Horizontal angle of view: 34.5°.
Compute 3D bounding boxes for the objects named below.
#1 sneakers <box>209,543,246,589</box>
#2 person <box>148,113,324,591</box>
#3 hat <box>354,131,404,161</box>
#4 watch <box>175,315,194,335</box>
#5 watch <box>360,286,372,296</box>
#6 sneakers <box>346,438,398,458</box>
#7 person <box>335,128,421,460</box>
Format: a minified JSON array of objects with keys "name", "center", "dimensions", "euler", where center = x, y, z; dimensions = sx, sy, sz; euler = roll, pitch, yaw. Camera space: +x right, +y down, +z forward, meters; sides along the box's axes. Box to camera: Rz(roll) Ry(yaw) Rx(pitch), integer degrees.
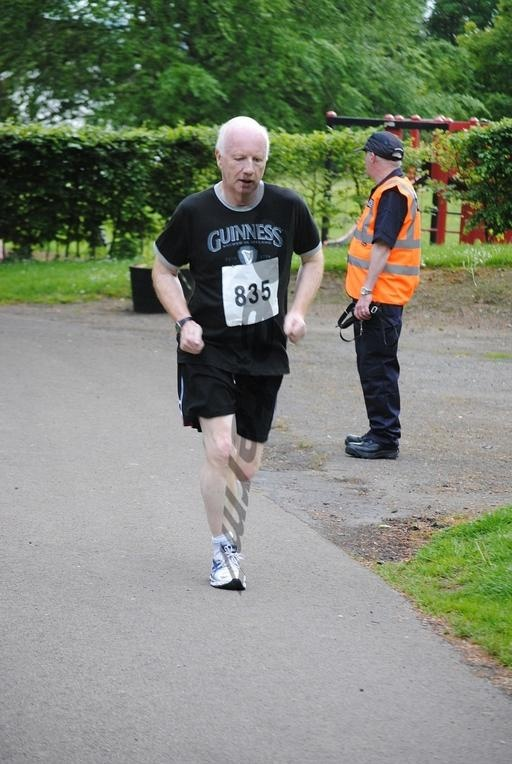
[{"name":"sneakers","center":[-0.122,0.778,3.431],"dimensions":[0.110,0.104,0.243],"euler":[2,-4,-8]},{"name":"person","center":[-0.063,-0.104,3.465],"dimensions":[0.696,1.928,0.460],"euler":[-2,7,-18]},{"name":"hat","center":[0.866,-1.601,5.609],"dimensions":[0.239,0.216,0.259],"euler":[1,7,7]},{"name":"watch","center":[-0.286,-0.228,3.294],"dimensions":[0.063,0.038,0.063],"euler":[-25,-21,-25]},{"name":"watch","center":[0.756,-0.622,5.707],"dimensions":[0.076,0.040,0.073],"euler":[1,-1,-35]},{"name":"sneakers","center":[0.800,0.482,5.868],"dimensions":[0.426,0.179,0.133],"euler":[6,0,-6]},{"name":"person","center":[0.855,-0.586,5.791],"dimensions":[0.506,2.244,0.460],"euler":[3,7,17]}]
